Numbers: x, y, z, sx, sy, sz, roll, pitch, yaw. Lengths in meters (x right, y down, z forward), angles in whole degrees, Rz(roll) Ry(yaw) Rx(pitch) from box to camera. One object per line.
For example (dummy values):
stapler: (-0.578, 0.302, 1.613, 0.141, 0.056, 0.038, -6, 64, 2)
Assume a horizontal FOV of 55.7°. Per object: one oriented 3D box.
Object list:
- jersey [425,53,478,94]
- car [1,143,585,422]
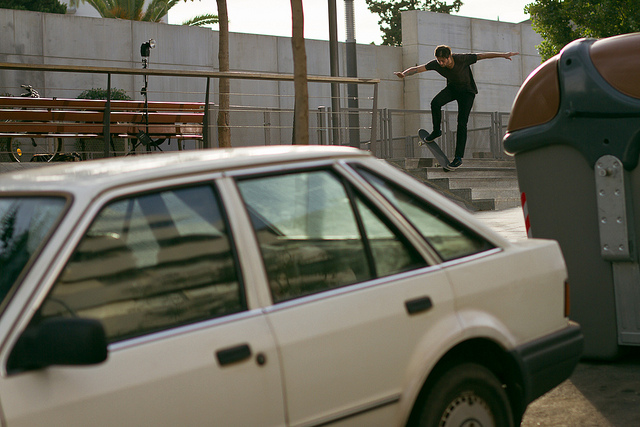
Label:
jersey: (2.398, -2.519, 10.854, 0.798, 0.737, 0.519, -2, 14, 10)
car: (-0.225, 0.377, 3.042, 2.330, 1.063, 1.347, 1, -2, -32)
